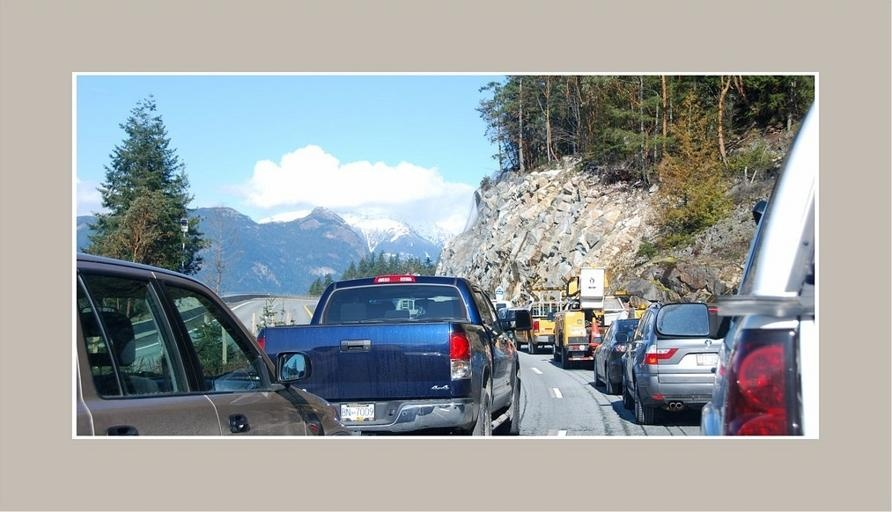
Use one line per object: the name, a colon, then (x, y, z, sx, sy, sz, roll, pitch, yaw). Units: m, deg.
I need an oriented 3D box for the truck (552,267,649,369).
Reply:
truck: (4.625, 2.001, 34.664, 2.691, 2.309, 3.896, 0, -4, -3)

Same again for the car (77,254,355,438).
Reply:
car: (-3.316, 1.219, 14.010, 1.996, 1.731, 3.122, -3, -2, 29)

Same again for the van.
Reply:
van: (4.270, 1.015, 14.087, 1.300, 2.312, 1.268, -14, 42, 21)

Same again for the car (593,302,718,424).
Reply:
car: (4.174, 2.031, 19.921, 1.741, 2.255, 0.926, 1, 5, 41)
